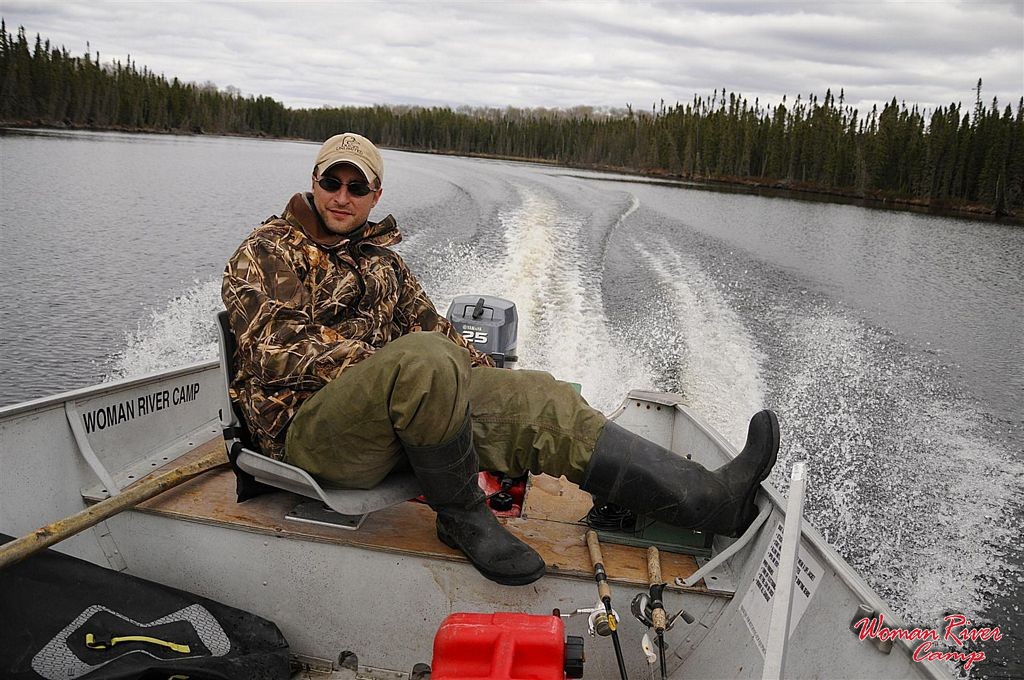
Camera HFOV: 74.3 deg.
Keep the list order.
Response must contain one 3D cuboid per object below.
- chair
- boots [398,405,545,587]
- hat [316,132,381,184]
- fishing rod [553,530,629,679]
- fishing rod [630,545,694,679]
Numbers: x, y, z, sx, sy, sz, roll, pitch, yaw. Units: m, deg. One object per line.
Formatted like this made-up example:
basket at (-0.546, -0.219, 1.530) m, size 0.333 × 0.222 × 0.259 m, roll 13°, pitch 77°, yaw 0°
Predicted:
chair at (-0.795, 0.237, 3.166) m, size 0.848 × 0.747 × 1.005 m, roll 1°, pitch 1°, yaw 11°
boots at (-0.131, 0.691, 2.863) m, size 0.656 × 0.633 × 0.285 m, roll 19°, pitch 37°, yaw 36°
hat at (-0.722, -0.828, 3.037) m, size 0.199 × 0.158 × 0.304 m, roll 19°, pitch 0°, yaw -5°
fishing rod at (0.327, 1.060, 2.891) m, size 0.220 × 0.126 × 0.717 m, roll 4°, pitch 25°, yaw -10°
fishing rod at (0.606, 1.122, 2.897) m, size 0.197 × 0.238 × 0.642 m, roll 15°, pitch 12°, yaw 1°
